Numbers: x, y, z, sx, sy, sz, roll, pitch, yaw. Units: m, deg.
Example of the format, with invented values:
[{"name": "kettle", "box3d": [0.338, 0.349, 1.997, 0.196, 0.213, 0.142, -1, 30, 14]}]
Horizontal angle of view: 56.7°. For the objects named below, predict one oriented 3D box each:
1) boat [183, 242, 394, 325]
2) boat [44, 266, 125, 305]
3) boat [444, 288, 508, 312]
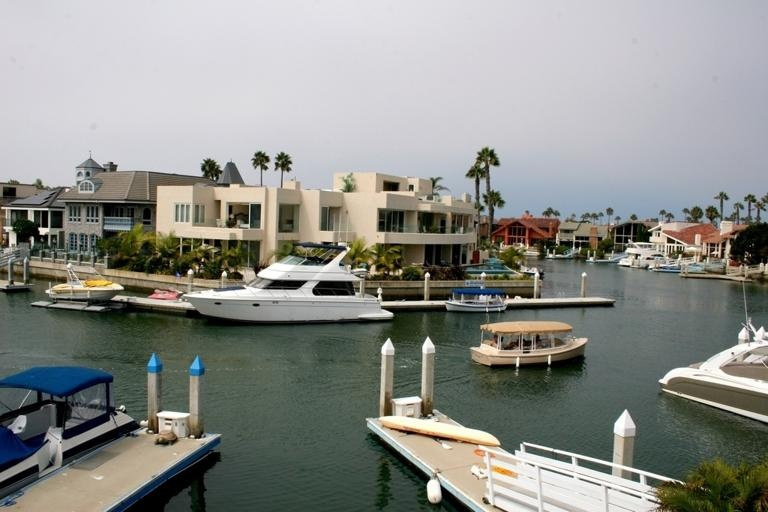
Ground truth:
[{"name": "boat", "box3d": [-6.026, 1.998, 47.802, 14.236, 4.619, 4.827, -1, 3, -17]}, {"name": "boat", "box3d": [-21.633, 2.253, 50.368, 6.893, 2.828, 2.949, 3, 0, 7]}, {"name": "boat", "box3d": [6.714, 3.327, 52.706, 3.932, 1.055, 2.011, -2, 4, -13]}]
